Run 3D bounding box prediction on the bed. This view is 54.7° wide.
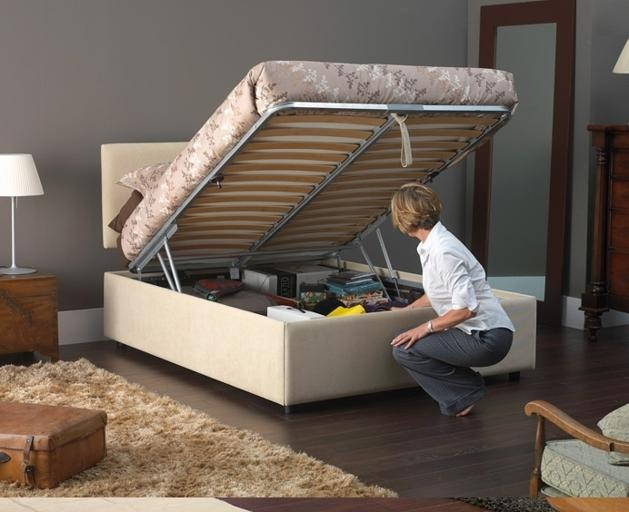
[{"bbox_3d":[-0.071,-0.158,4.291,2.513,1.581,3.024,-19,10,-35],"label":"bed"}]

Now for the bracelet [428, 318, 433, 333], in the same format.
[{"bbox_3d":[0.597,0.372,3.169,0.026,0.070,0.056,4,9,6],"label":"bracelet"}]

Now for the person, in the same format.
[{"bbox_3d":[0.708,0.237,3.250,0.417,1.234,0.497,-6,13,-40],"label":"person"}]
